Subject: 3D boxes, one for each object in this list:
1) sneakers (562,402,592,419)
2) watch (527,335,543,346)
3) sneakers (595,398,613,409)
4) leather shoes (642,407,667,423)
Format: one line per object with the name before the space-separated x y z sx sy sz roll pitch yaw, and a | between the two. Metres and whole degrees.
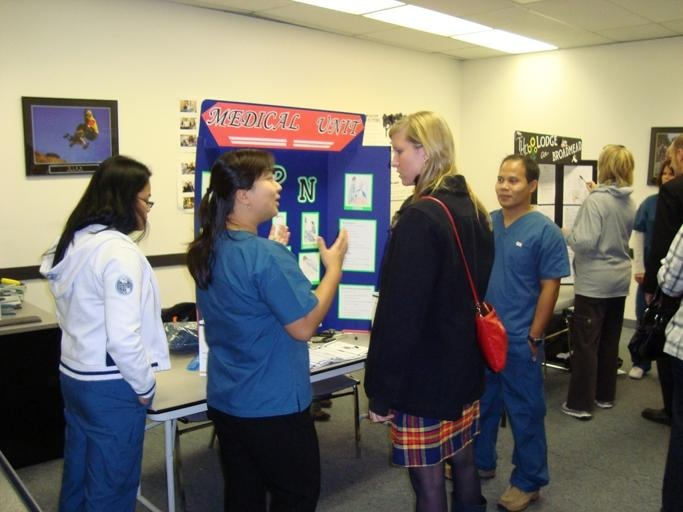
sneakers | 1.871 1.256 4.419 0.079 0.095 0.214 -9 22 -32
watch | 1.155 0.504 3.281 0.053 0.035 0.068 -4 0 -43
sneakers | 2.175 1.224 4.586 0.055 0.072 0.156 -1 10 -6
leather shoes | 2.467 1.249 4.379 0.068 0.081 0.199 -7 12 -35
